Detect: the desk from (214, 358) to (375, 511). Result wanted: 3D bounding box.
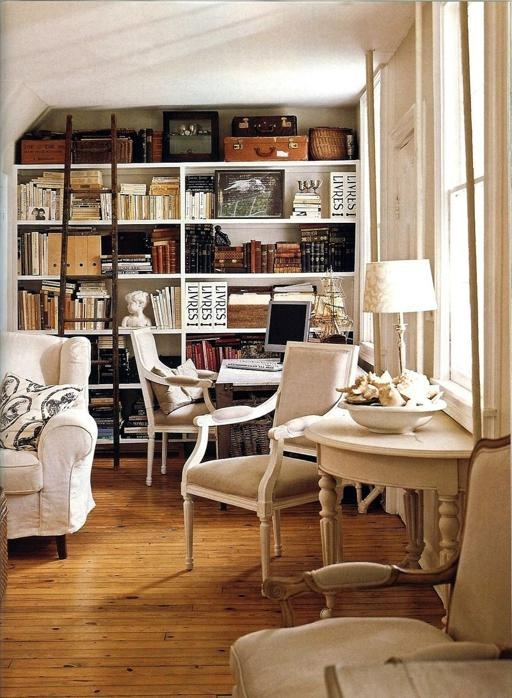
[{"bbox_3d":[0.223,0.384,3.928,1.025,0.982,0.791,0,-2,3],"label":"desk"}]

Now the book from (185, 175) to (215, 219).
[{"bbox_3d":[-0.423,-1.180,5.191,0.290,0.419,0.302,0,5,-4],"label":"book"}]

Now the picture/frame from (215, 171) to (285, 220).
[{"bbox_3d":[-0.075,-1.171,5.044,0.371,0.267,0.033,-1,1,0],"label":"picture/frame"}]

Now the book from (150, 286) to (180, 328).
[{"bbox_3d":[-0.668,-0.327,5.174,0.281,0.399,0.294,-1,-1,-2],"label":"book"}]

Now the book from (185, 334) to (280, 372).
[{"bbox_3d":[-0.177,-0.009,5.135,0.684,0.265,0.752,-1,7,-5],"label":"book"}]

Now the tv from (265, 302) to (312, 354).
[{"bbox_3d":[0.201,-0.141,4.144,0.026,0.348,0.342,5,-4,-41],"label":"tv"}]

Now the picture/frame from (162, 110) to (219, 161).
[{"bbox_3d":[-0.511,-1.647,5.070,0.383,0.353,0.135,1,5,-1],"label":"picture/frame"}]

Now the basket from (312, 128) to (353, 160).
[{"bbox_3d":[0.568,-1.550,4.998,0.376,0.258,0.217,1,16,-1],"label":"basket"}]

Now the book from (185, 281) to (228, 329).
[{"bbox_3d":[-0.392,-0.334,5.072,0.345,0.352,0.085,-1,4,-7],"label":"book"}]

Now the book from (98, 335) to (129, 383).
[{"bbox_3d":[-1.140,0.078,5.168,0.287,0.411,0.331,0,-4,-4],"label":"book"}]

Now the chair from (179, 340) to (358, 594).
[{"bbox_3d":[0.074,0.463,2.737,0.633,0.947,0.574,-1,1,-27],"label":"chair"}]

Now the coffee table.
[{"bbox_3d":[0.364,0.488,2.035,0.526,0.444,0.376,4,4,0],"label":"coffee table"}]

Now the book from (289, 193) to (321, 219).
[{"bbox_3d":[0.367,-1.087,5.021,0.246,0.240,0.181,1,-8,2],"label":"book"}]

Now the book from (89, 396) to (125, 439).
[{"bbox_3d":[-1.175,0.515,5.012,0.286,0.299,0.071,1,0,-2],"label":"book"}]
